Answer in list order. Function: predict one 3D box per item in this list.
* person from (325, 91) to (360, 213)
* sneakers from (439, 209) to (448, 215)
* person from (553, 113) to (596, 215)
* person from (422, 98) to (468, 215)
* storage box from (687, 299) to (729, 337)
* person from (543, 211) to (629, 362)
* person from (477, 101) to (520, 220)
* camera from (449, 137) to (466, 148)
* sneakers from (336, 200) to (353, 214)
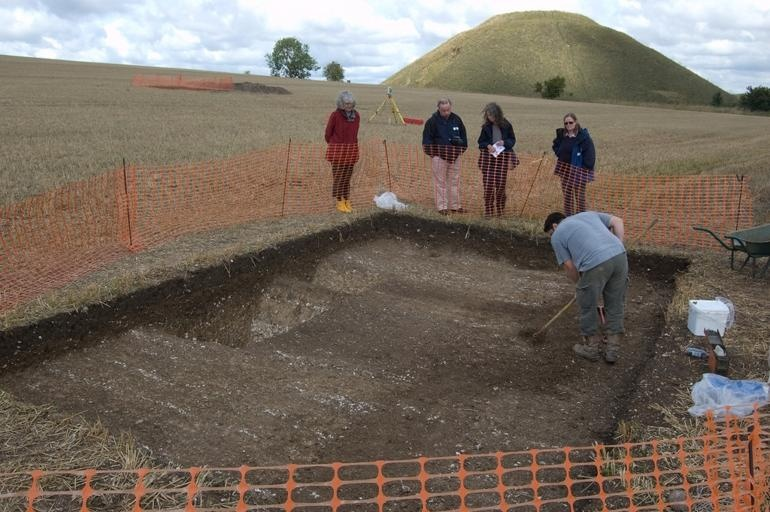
[{"bbox_3d":[-0.879,-2.184,13.653,0.667,2.426,1.070,-1,20,-3],"label":"person"},{"bbox_3d":[1.243,-0.925,13.705,0.180,0.115,0.043,-1,-3,3],"label":"sneakers"},{"bbox_3d":[3.656,-1.758,12.578,0.732,1.964,1.088,2,20,5],"label":"person"},{"bbox_3d":[1.232,-2.054,13.508,0.828,2.272,0.363,0,20,1],"label":"person"},{"bbox_3d":[4.736,0.917,9.596,0.491,0.397,0.361,4,11,2],"label":"storage box"},{"bbox_3d":[2.931,0.418,9.395,1.083,2.040,0.701,7,21,20],"label":"person"},{"bbox_3d":[2.312,-1.941,13.403,0.796,2.311,1.088,3,20,10],"label":"person"},{"bbox_3d":[1.498,-2.320,13.332,0.200,0.127,0.278,0,14,-34],"label":"camera"},{"bbox_3d":[-0.837,-1.027,13.849,0.209,0.139,0.351,-27,34,-32],"label":"sneakers"}]
